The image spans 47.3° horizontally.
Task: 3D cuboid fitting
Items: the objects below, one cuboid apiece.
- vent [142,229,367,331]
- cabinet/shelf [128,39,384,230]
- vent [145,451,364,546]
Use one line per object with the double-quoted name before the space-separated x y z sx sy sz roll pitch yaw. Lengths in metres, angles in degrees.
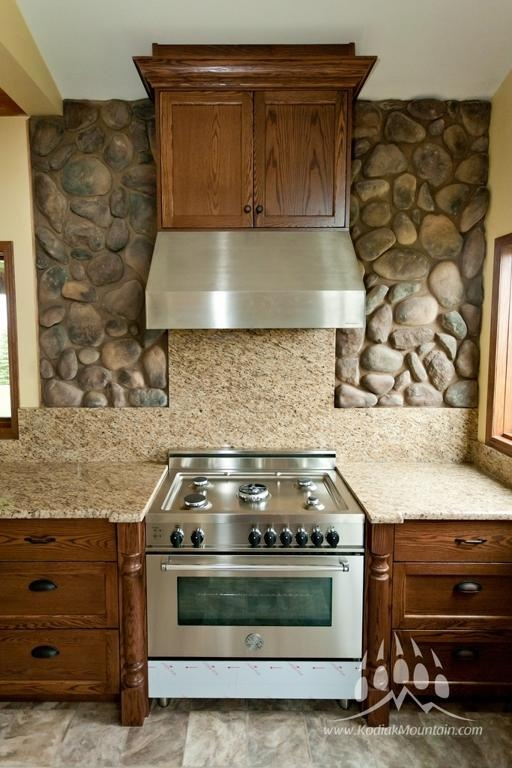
"vent" -0.002 -0.386 2.082 0.748 0.356 0.272 0 8 1
"cabinet/shelf" 0.002 -0.919 2.295 0.813 0.672 0.454 0 4 3
"vent" -0.012 0.444 2.275 0.856 0.224 0.806 2 6 15
